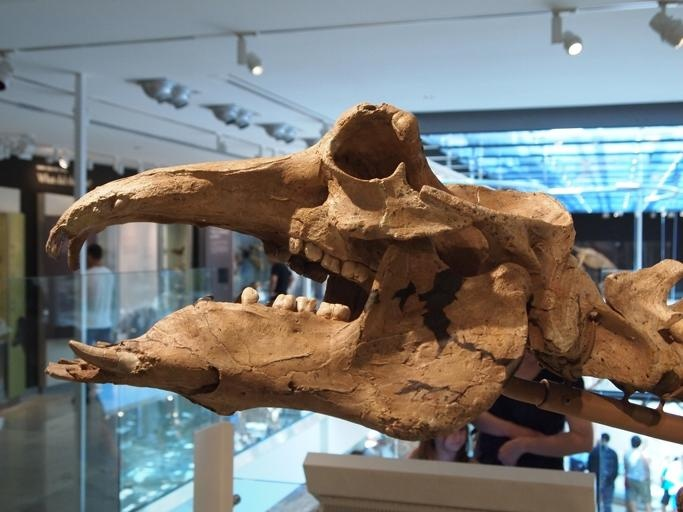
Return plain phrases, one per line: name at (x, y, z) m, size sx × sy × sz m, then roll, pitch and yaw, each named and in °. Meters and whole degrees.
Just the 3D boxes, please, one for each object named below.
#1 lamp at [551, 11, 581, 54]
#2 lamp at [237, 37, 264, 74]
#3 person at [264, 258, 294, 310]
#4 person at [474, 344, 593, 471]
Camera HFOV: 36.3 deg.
lamp at (1.288, -1.300, 6.056) m, size 0.158 × 0.258 × 0.243 m, roll 2°, pitch -1°, yaw -7°
lamp at (-0.560, -1.232, 6.397) m, size 0.147 × 0.227 × 0.271 m, roll 2°, pitch -1°, yaw -5°
person at (-0.581, 0.220, 10.057) m, size 0.232 × 0.380 × 0.876 m, roll 2°, pitch -1°, yaw -3°
person at (1.016, 0.857, 5.922) m, size 0.787 × 0.690 × 0.581 m, roll 12°, pitch 0°, yaw -3°
